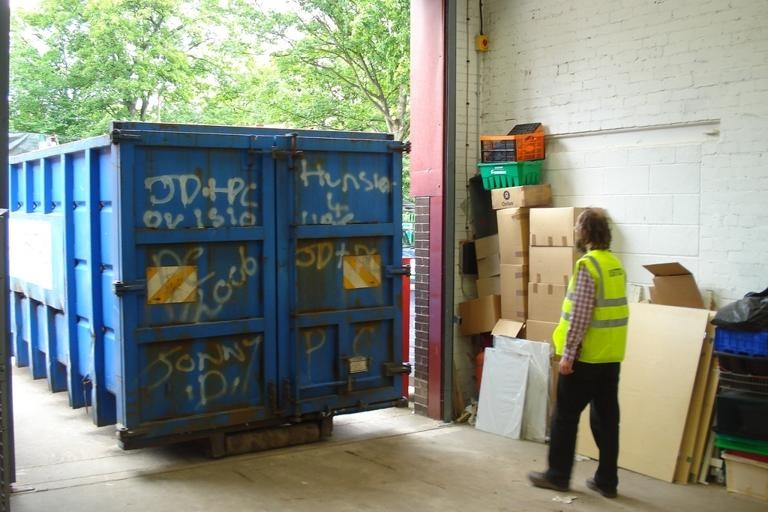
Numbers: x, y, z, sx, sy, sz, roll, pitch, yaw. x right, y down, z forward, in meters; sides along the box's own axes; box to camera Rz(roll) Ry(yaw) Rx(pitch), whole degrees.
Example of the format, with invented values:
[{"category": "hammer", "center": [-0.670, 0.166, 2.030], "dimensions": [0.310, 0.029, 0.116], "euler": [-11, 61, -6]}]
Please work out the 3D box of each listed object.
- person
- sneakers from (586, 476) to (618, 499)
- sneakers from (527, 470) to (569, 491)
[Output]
[{"category": "person", "center": [2.053, 1.212, 5.938], "dimensions": [0.790, 2.523, 0.374], "euler": [-1, 6, -13]}, {"category": "sneakers", "center": [2.236, 2.412, 6.031], "dimensions": [0.124, 0.114, 0.317], "euler": [-1, 17, -33]}, {"category": "sneakers", "center": [1.734, 2.358, 6.176], "dimensions": [0.387, 0.155, 0.157], "euler": [10, 9, 27]}]
